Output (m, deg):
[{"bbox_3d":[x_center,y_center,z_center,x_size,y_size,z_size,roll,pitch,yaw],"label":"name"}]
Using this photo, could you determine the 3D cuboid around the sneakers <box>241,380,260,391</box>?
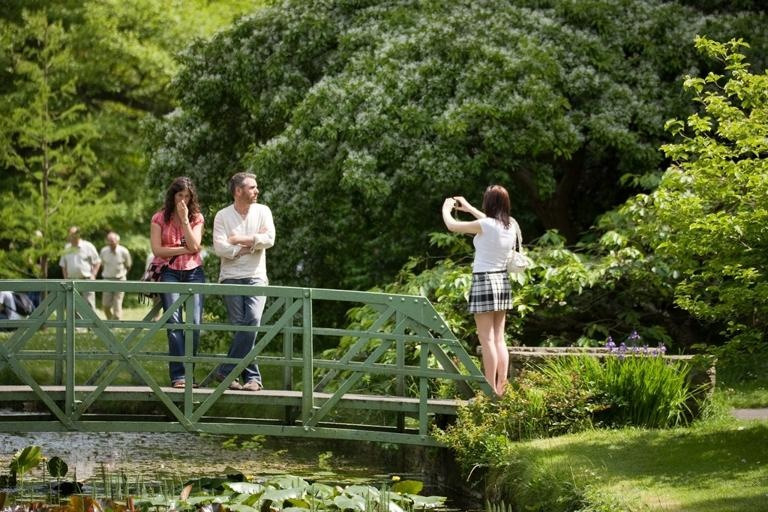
[{"bbox_3d":[-1.678,1.655,21.149,0.119,0.086,0.199,-1,-13,12],"label":"sneakers"}]

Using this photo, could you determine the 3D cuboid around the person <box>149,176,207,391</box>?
[{"bbox_3d":[-2.638,0.355,20.967,0.665,2.608,0.760,1,14,-8],"label":"person"}]

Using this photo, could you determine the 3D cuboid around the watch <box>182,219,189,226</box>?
[{"bbox_3d":[-2.513,-0.421,20.864,0.073,0.049,0.038,-3,15,-23],"label":"watch"}]

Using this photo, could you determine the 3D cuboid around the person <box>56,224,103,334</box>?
[{"bbox_3d":[-4.963,-0.060,27.005,0.642,0.942,0.708,-2,14,-18],"label":"person"}]

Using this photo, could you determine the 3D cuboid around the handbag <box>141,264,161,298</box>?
[{"bbox_3d":[-2.985,0.320,21.073,0.171,0.399,0.302,9,-3,-25],"label":"handbag"}]

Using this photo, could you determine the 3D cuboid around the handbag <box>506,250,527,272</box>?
[{"bbox_3d":[1.678,0.083,20.904,0.278,0.264,0.206,-1,5,-23],"label":"handbag"}]

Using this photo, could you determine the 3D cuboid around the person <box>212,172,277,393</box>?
[{"bbox_3d":[-1.809,0.385,20.945,0.748,2.795,0.709,1,13,-6],"label":"person"}]

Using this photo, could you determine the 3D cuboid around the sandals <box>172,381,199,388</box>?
[{"bbox_3d":[-2.534,1.630,21.073,0.334,0.141,0.124,-2,-4,12],"label":"sandals"}]

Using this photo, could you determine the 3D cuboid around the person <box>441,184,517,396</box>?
[{"bbox_3d":[1.220,0.418,20.958,0.912,2.581,0.649,6,14,14],"label":"person"}]

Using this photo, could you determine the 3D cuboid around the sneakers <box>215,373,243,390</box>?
[{"bbox_3d":[-2.008,1.596,21.111,0.478,0.202,0.160,5,-2,5],"label":"sneakers"}]
